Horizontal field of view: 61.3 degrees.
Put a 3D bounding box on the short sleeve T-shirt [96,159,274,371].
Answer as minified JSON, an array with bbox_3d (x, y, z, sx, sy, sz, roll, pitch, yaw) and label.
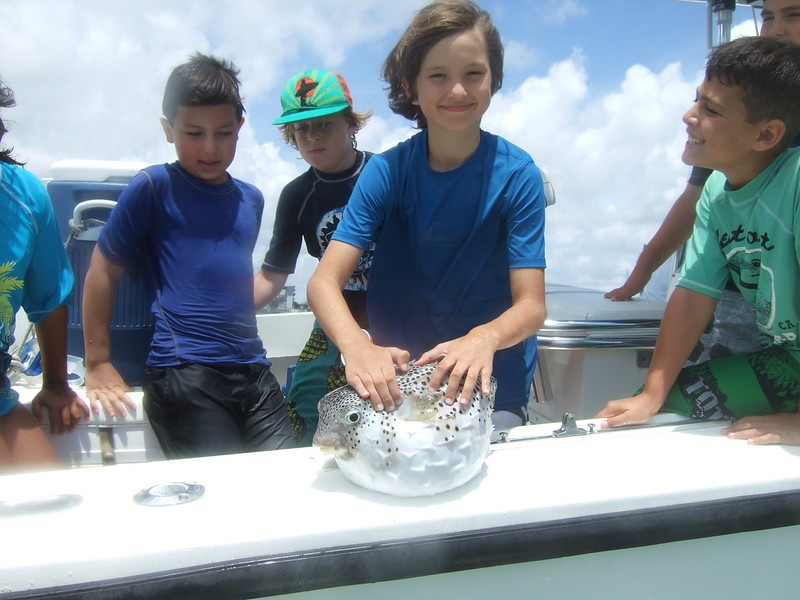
[{"bbox_3d":[-0.740,-0.094,2.255,0.299,0.688,0.569,-18,-19,41],"label":"short sleeve T-shirt"}]

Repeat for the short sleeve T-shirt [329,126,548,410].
[{"bbox_3d":[0.131,-0.106,2.129,0.568,0.811,0.401,3,33,5],"label":"short sleeve T-shirt"}]

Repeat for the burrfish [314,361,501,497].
[{"bbox_3d":[0.041,0.317,1.623,0.503,0.312,0.372,-5,-1,-34],"label":"burrfish"}]

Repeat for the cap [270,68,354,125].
[{"bbox_3d":[-0.337,-0.783,2.559,0.269,0.206,0.380,-9,20,13],"label":"cap"}]

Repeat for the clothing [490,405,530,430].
[{"bbox_3d":[0.323,0.352,2.007,0.111,0.065,0.203,-7,-3,2],"label":"clothing"}]
